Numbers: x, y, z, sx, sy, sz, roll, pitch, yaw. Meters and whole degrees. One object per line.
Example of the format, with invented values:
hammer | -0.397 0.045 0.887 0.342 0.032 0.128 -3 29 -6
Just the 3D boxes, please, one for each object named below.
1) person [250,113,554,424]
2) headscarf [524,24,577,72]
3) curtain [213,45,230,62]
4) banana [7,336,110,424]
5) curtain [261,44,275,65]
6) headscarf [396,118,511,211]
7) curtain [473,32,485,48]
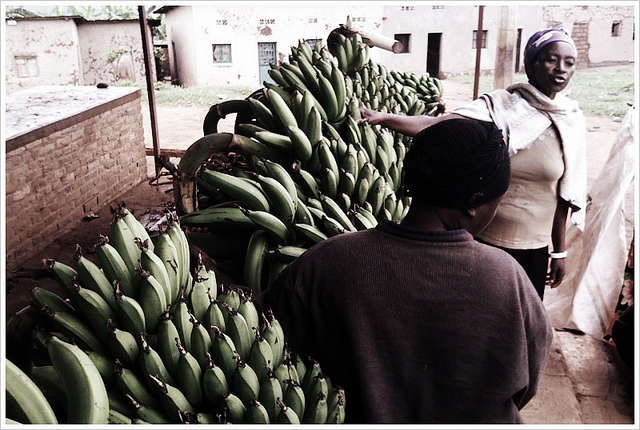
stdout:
person | 0.350 0.229 1.570 0.942 1.078 0.485 -5 20 -14
headscarf | 1.433 -1.044 2.813 0.280 0.274 0.225 8 21 21
curtain | -3.464 -5.761 15.820 0.513 0.559 0.061 5 27 10
banana | -0.806 0.537 1.387 0.087 0.265 0.223 -38 -10 27
curtain | -1.780 -5.548 15.385 0.284 0.633 0.682 -14 24 -34
headscarf | 0.486 -0.181 1.563 0.374 0.298 0.161 -5 20 -15
curtain | 5.922 -6.587 16.784 0.421 0.526 1.163 7 20 18
